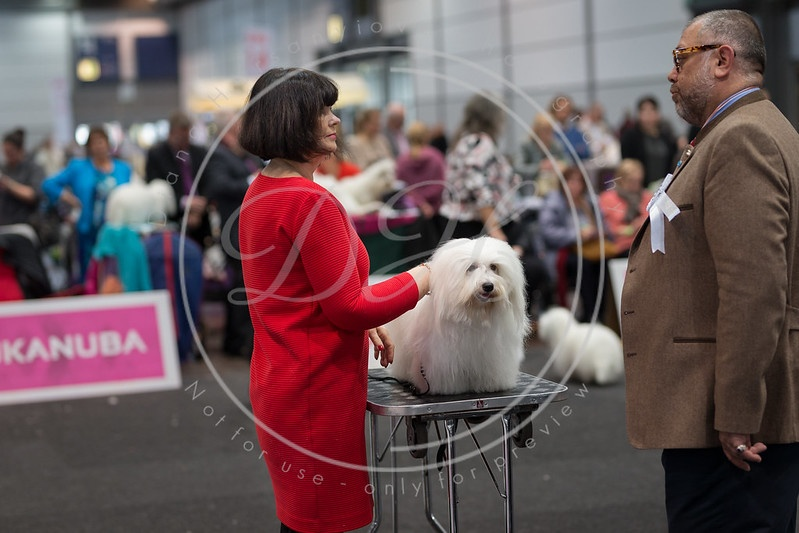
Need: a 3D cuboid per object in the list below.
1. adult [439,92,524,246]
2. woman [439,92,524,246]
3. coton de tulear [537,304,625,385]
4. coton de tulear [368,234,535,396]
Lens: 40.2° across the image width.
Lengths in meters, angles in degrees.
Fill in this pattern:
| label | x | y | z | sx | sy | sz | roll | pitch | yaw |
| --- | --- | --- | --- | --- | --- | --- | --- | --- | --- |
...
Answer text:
| label | x | y | z | sx | sy | sz | roll | pitch | yaw |
| --- | --- | --- | --- | --- | --- | --- | --- | --- | --- |
| adult | 0.766 | -0.852 | 9.857 | 0.719 | 1.356 | 0.816 | -4 | 7 | -8 |
| woman | 0.766 | -0.852 | 9.857 | 0.719 | 1.356 | 0.816 | -4 | 7 | -9 |
| coton de tulear | 1.626 | 0.743 | 9.843 | 0.801 | 0.743 | 0.529 | 2 | -15 | 11 |
| coton de tulear | 0.338 | 0.258 | 7.022 | 0.681 | 1.057 | 1.177 | -3 | 8 | -21 |
